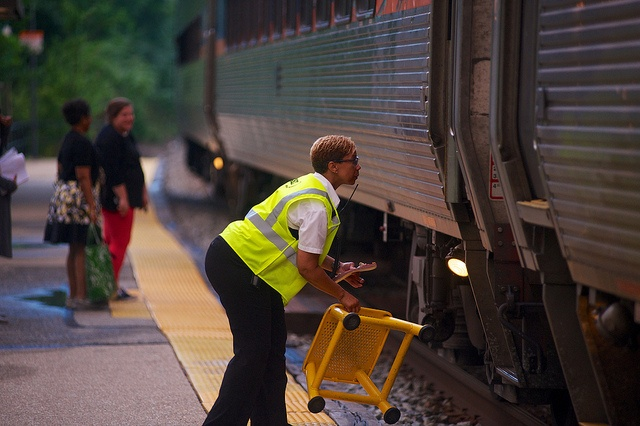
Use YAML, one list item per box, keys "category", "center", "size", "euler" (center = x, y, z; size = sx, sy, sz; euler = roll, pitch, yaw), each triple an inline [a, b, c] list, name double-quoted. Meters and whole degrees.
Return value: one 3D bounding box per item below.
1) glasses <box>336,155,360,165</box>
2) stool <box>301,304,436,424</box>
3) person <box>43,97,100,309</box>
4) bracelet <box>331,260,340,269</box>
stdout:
- category: "glasses"
  center: [0.190, -0.319, 3.053]
  size: [0.099, 0.047, 0.271]
  euler: [6, 6, 21]
- category: "stool"
  center: [0.241, 0.785, 2.843]
  size: [0.594, 0.814, 0.330]
  euler: [4, 23, -26]
- category: "person"
  center: [-2.859, -0.083, 5.991]
  size: [0.597, 2.485, 0.409]
  euler: [4, 6, 9]
- category: "bracelet"
  center: [0.094, 0.308, 3.076]
  size: [0.040, 0.022, 0.060]
  euler: [4, -27, 3]
